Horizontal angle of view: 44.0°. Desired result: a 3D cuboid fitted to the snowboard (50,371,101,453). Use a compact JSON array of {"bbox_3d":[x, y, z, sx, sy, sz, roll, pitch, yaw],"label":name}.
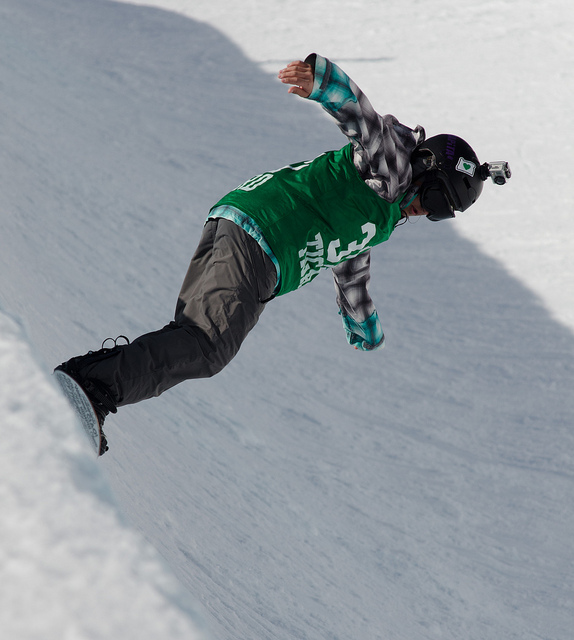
[{"bbox_3d":[-0.804,0.333,2.732,0.051,0.139,0.438,-25,62,-28],"label":"snowboard"}]
